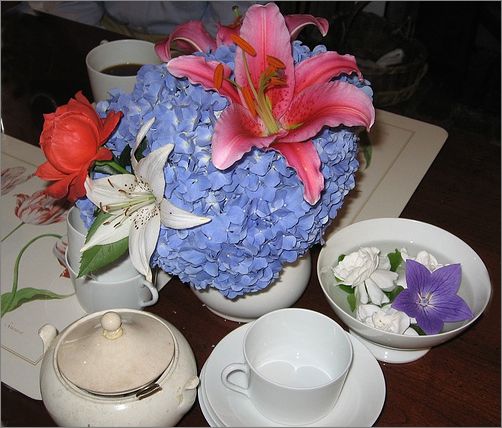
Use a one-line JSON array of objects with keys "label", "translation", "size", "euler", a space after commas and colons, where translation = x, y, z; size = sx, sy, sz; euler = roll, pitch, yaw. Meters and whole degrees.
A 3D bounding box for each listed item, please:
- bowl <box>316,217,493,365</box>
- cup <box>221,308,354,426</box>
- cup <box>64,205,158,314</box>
[{"label": "bowl", "translation": [0.224, 0.071, 0.595], "size": [0.186, 0.102, 0.223], "euler": [-2, 43, 4]}, {"label": "cup", "translation": [0.041, 0.192, 0.502], "size": [0.130, 0.075, 0.123], "euler": [-1, 44, 1]}, {"label": "cup", "translation": [-0.193, 0.061, 0.620], "size": [0.096, 0.120, 0.165], "euler": [-20, 57, -31]}]
